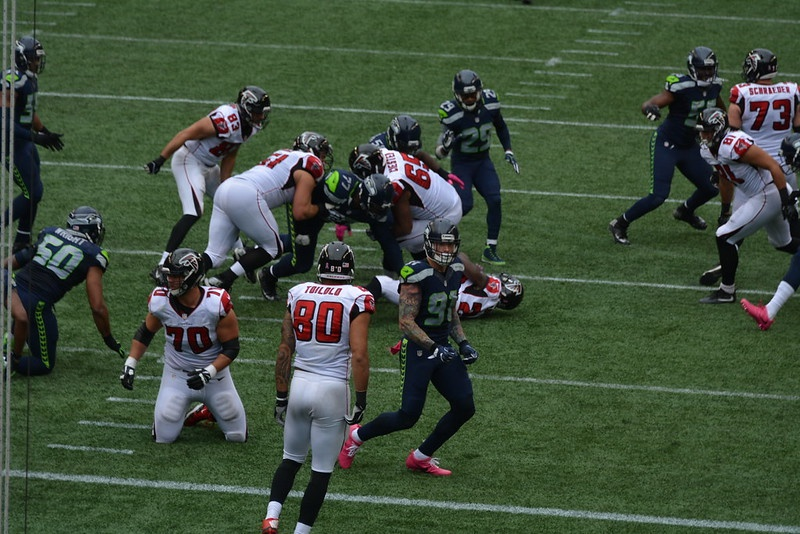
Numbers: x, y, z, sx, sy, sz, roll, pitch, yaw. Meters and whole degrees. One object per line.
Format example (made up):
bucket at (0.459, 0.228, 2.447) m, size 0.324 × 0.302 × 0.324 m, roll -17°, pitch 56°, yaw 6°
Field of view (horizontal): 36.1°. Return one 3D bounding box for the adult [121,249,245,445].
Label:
adult at (-1.974, 0.769, 11.580) m, size 1.195 × 1.921 × 0.536 m, roll 4°, pitch 13°, yaw -7°

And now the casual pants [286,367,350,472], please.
casual pants at (-0.736, 1.362, 10.960) m, size 0.565 × 0.819 × 0.388 m, roll 5°, pitch 13°, yaw -4°

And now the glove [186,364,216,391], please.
glove at (-1.838, 1.024, 11.483) m, size 0.292 × 0.183 × 0.141 m, roll -43°, pitch 4°, yaw -28°

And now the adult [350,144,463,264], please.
adult at (-0.039, -0.485, 13.934) m, size 1.313 × 1.730 × 1.020 m, roll 4°, pitch 22°, yaw -12°

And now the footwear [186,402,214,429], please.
footwear at (-1.954, 1.444, 11.967) m, size 0.425 × 0.145 × 0.191 m, roll -6°, pitch 16°, yaw 27°

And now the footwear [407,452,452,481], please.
footwear at (0.247, 1.874, 11.629) m, size 0.519 × 0.212 × 0.182 m, roll 15°, pitch -11°, yaw -7°

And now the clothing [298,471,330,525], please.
clothing at (-0.755, 2.069, 10.895) m, size 0.174 × 0.537 × 0.317 m, roll 12°, pitch 14°, yaw 25°

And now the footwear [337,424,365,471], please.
footwear at (-0.471, 1.718, 11.659) m, size 0.217 × 0.476 × 0.177 m, roll 15°, pitch 19°, yaw 6°

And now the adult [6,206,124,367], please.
adult at (-3.462, 0.271, 12.667) m, size 1.274 × 1.032 × 0.851 m, roll 34°, pitch 24°, yaw 19°
